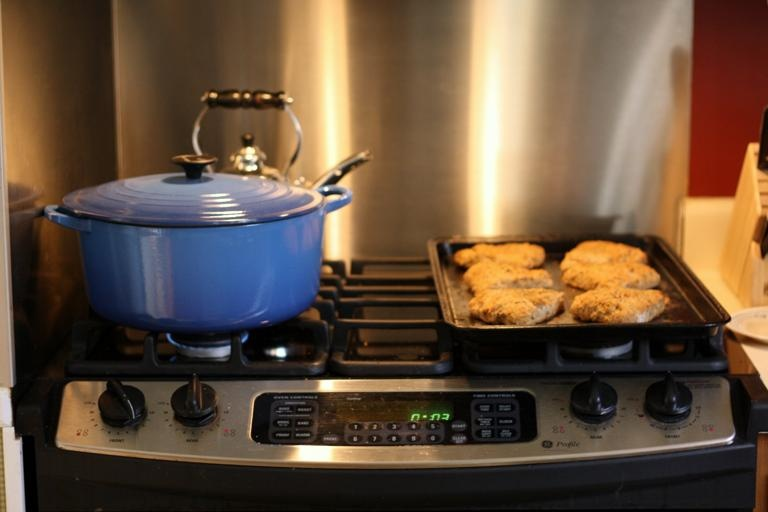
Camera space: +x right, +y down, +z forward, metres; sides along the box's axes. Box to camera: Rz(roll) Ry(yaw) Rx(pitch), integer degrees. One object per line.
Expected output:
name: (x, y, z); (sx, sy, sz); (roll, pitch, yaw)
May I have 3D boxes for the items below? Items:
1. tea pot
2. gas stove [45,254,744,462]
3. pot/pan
tea pot: (-0.244, -0.255, 1.688); (0.420, 0.258, 0.231); (-1, 6, -4)
gas stove: (-0.086, 0.110, 1.699); (1.181, 0.260, 0.922); (-2, 11, -9)
pot/pan: (-0.349, -0.047, 1.469); (0.579, 0.257, 0.449); (2, 16, 0)
